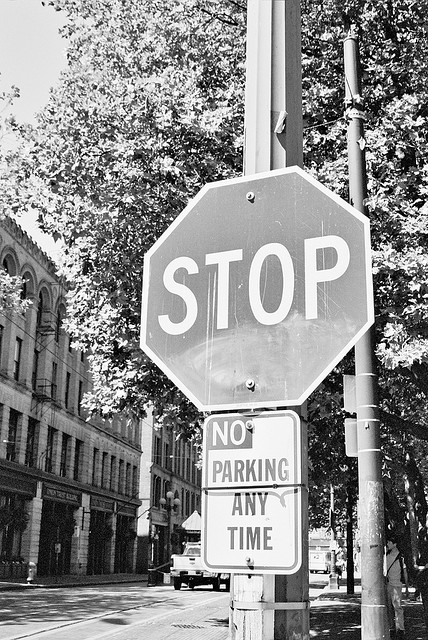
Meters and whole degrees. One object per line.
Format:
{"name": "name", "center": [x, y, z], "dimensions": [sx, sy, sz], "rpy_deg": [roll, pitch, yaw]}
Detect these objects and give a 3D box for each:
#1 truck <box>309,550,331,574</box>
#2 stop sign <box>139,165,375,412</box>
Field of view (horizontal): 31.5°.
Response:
{"name": "truck", "center": [7.921, 18.154, 57.197], "dimensions": [1.322, 1.705, 5.382], "rpy_deg": [-3, -20, 4]}
{"name": "stop sign", "center": [0.088, -0.099, 1.974], "dimensions": [0.649, 0.698, 0.131], "rpy_deg": [-11, -19, 26]}
